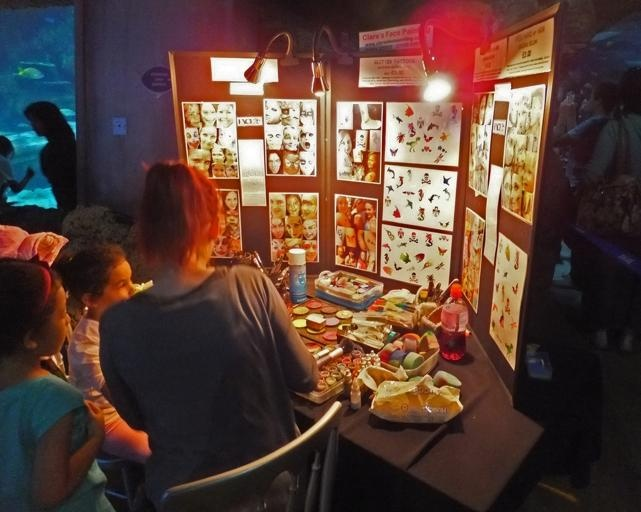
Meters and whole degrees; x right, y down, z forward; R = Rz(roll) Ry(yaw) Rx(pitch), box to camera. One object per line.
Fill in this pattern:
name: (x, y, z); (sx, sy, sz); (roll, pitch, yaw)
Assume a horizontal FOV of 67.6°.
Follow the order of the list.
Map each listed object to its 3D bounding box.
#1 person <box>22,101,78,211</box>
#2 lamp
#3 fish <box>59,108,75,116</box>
person: (-2.068, -0.710, 3.803); (0.288, 1.108, 0.317); (16, 41, -3)
lamp: (0.138, -0.871, 2.103); (0.874, 0.307, 0.532); (-10, 49, -7)
fish: (-1.866, -1.057, 3.529); (0.099, 0.058, 0.007); (0, 11, -4)
